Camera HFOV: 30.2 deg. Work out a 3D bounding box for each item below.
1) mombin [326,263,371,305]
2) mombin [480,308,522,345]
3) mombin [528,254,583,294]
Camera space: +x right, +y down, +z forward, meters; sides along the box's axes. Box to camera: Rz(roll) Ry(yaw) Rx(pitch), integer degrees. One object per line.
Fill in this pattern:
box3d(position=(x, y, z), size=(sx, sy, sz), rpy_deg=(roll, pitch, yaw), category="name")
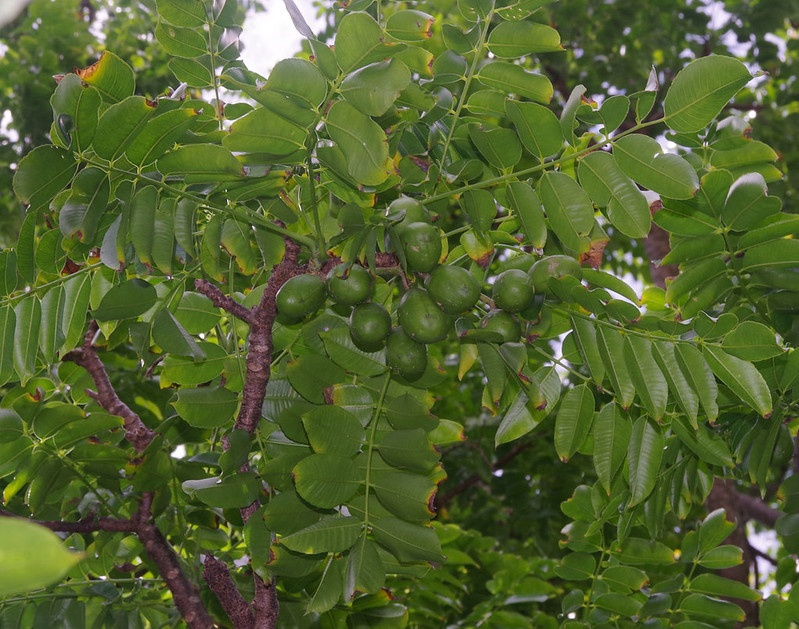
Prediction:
box3d(position=(-0.244, -0.148, 7.139), size=(0.220, 0.193, 0.180), rpy_deg=(11, -25, -1), category="mombin")
box3d(position=(0.503, 0.052, 7.213), size=(0.187, 0.158, 0.167), rpy_deg=(32, 21, 25), category="mombin")
box3d(position=(0.747, -0.208, 7.240), size=(0.232, 0.129, 0.175), rpy_deg=(-9, -4, -26), category="mombin")
